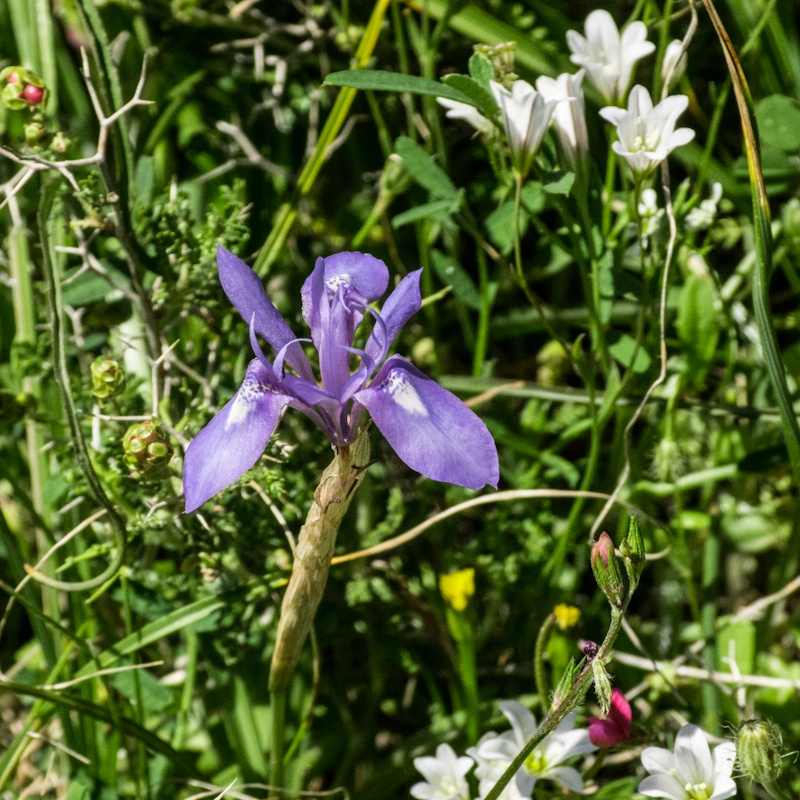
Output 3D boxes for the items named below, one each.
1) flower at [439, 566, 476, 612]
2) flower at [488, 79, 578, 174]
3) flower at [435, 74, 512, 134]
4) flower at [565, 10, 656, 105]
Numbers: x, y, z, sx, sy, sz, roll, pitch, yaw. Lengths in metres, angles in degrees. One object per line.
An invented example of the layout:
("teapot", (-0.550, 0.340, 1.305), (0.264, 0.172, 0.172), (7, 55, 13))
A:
("flower", (0.085, 0.275, 1.426), (0.047, 0.069, 0.027), (0, 8, 18))
("flower", (0.172, -0.366, 1.326), (0.101, 0.115, 0.101), (-8, 32, -45))
("flower", (0.100, -0.418, 1.331), (0.030, 0.077, 0.086), (-20, 39, -28))
("flower", (0.297, -0.492, 1.346), (0.102, 0.118, 0.146), (-1, 68, 13))
